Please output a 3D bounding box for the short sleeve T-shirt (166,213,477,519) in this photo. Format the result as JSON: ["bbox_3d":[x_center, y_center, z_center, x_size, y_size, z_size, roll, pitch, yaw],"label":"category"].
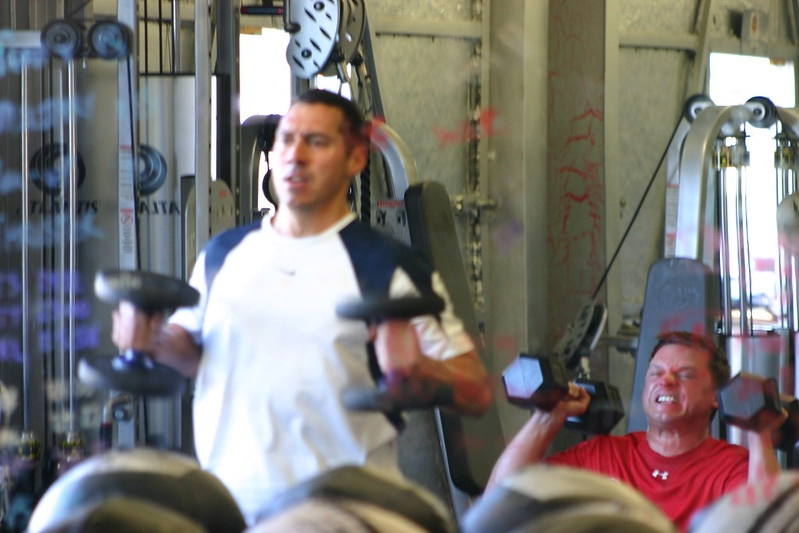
[{"bbox_3d":[-0.265,0.295,3.313,1.182,0.998,0.455,3,-13,6],"label":"short sleeve T-shirt"}]

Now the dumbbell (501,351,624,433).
[{"bbox_3d":[0.544,0.417,3.642,0.196,0.284,0.452,4,3,44],"label":"dumbbell"}]

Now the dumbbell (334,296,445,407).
[{"bbox_3d":[-0.012,0.250,3.190,0.186,0.365,0.349,0,3,-43],"label":"dumbbell"}]

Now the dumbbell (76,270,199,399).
[{"bbox_3d":[-0.713,0.182,3.265,0.325,0.400,0.293,7,-1,23],"label":"dumbbell"}]
